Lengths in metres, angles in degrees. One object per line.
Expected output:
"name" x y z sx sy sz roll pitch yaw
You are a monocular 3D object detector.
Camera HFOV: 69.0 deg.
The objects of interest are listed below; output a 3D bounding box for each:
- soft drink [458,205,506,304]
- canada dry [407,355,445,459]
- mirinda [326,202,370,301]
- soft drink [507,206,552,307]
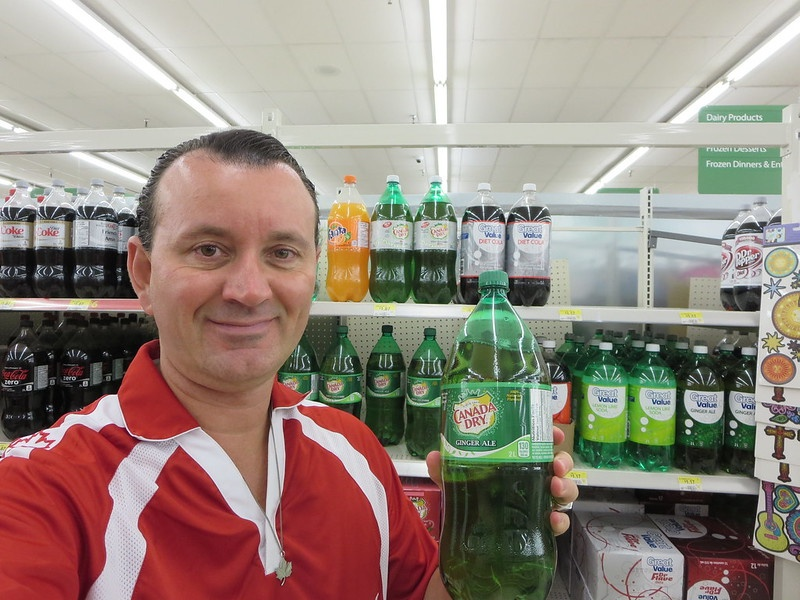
"soft drink" 0.377 -0.253 2.601 0.319 0.542 0.310 0 -1 3
"canada dry" 0.128 0.423 2.758 0.196 0.622 0.194 1 -4 -21
"mirinda" -0.232 -0.272 2.683 0.199 0.574 0.194 3 6 22
"soft drink" 0.571 -0.242 2.588 0.195 0.564 0.194 5 -3 -28
